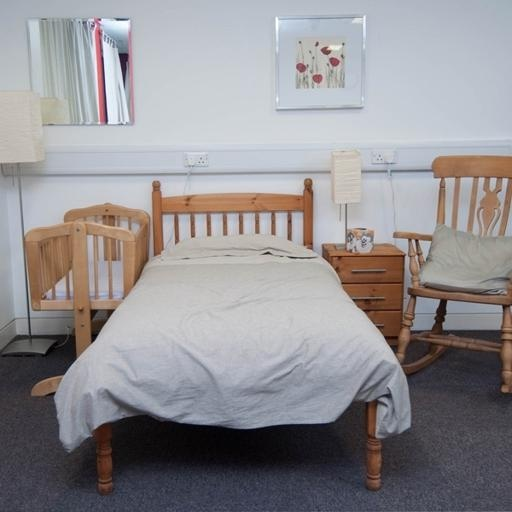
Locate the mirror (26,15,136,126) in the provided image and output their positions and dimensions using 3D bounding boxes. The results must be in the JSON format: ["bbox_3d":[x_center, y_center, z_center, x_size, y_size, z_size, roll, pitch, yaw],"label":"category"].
[{"bbox_3d":[-1.044,-1.079,2.927,0.589,0.550,0.017,1,15,-8],"label":"mirror"}]

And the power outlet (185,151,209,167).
[{"bbox_3d":[-0.371,-0.597,3.008,0.151,0.092,0.033,-2,1,-10],"label":"power outlet"}]

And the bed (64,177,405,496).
[{"bbox_3d":[-0.149,0.177,2.356,1.099,1.188,1.613,-2,7,-3],"label":"bed"}]

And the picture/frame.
[{"bbox_3d":[0.384,-1.183,2.950,0.589,0.505,0.022,-1,5,-3],"label":"picture/frame"}]

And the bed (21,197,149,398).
[{"bbox_3d":[-0.836,0.101,2.661,0.747,0.827,1.036,-1,7,-3],"label":"bed"}]

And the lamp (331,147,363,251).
[{"bbox_3d":[0.534,-0.348,2.967,0.176,0.571,0.292,1,13,8],"label":"lamp"}]
